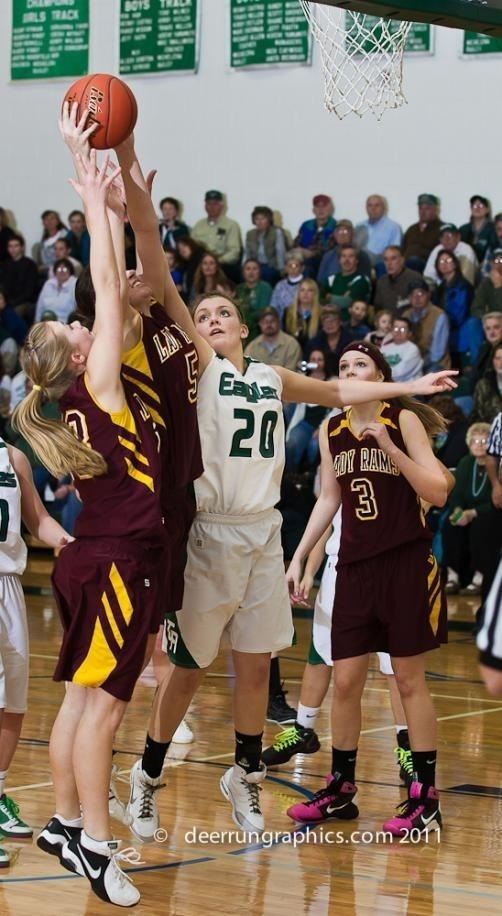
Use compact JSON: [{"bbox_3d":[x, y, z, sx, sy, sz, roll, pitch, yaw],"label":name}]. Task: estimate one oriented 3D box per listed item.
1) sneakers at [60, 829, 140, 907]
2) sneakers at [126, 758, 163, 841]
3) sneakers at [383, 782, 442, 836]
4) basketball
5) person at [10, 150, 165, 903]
[{"bbox_3d":[-0.288,0.764,1.405,0.100,0.135,0.142,7,-10,-39],"label":"sneakers"},{"bbox_3d":[-0.279,0.915,2.003,0.071,0.215,0.093,0,-10,-26],"label":"sneakers"},{"bbox_3d":[0.453,0.971,2.068,0.183,0.130,0.064,1,-4,-27],"label":"sneakers"},{"bbox_3d":[-0.325,-0.760,1.646,0.145,0.173,0.149,-3,7,7],"label":"basketball"},{"bbox_3d":[-0.346,0.133,1.590,0.297,1.473,0.470,4,-8,-21],"label":"person"}]
